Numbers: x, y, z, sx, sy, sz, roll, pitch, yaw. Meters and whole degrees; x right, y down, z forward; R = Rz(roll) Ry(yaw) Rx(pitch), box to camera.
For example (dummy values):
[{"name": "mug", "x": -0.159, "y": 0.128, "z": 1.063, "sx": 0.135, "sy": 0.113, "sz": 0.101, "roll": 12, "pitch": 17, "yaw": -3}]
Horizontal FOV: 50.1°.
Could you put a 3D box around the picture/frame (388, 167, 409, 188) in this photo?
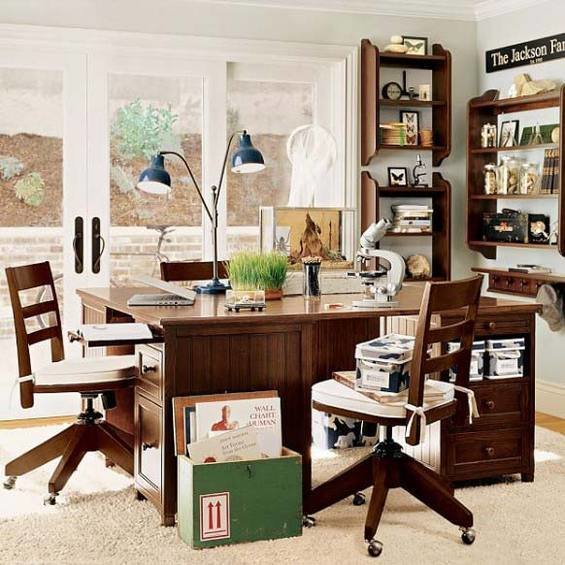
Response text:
[{"name": "picture/frame", "x": 0.787, "y": -0.719, "z": 4.156, "sx": 0.164, "sy": 0.161, "sz": 0.012, "roll": 0, "pitch": -6, "yaw": -21}]

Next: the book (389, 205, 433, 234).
[{"name": "book", "x": 0.883, "y": -0.426, "z": 4.124, "sx": 0.223, "sy": 0.147, "sz": 0.221, "roll": 0, "pitch": 4, "yaw": -7}]

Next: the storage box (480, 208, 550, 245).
[{"name": "storage box", "x": 1.511, "y": -0.355, "z": 3.937, "sx": 0.145, "sy": 0.229, "sz": 0.439, "roll": -2, "pitch": 4, "yaw": -20}]

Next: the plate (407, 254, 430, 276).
[{"name": "plate", "x": 0.938, "y": -0.117, "z": 4.190, "sx": 0.145, "sy": 0.150, "sz": 0.045, "roll": -3, "pitch": -15, "yaw": 5}]

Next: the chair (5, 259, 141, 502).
[{"name": "chair", "x": -0.938, "y": 0.347, "z": 2.564, "sx": 0.577, "sy": 0.979, "sz": 0.597, "roll": 0, "pitch": 1, "yaw": -2}]

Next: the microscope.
[{"name": "microscope", "x": 0.380, "y": -0.084, "z": 2.393, "sx": 0.198, "sy": 0.338, "sz": 0.126, "roll": 4, "pitch": 23, "yaw": 27}]

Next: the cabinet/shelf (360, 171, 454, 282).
[{"name": "cabinet/shelf", "x": 0.953, "y": -0.410, "z": 4.398, "sx": 0.731, "sy": 0.731, "sz": 0.195, "roll": -1, "pitch": 8, "yaw": -16}]

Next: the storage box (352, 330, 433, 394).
[{"name": "storage box", "x": 0.368, "y": 0.281, "z": 2.089, "sx": 0.185, "sy": 0.162, "sz": 0.272, "roll": 1, "pitch": 1, "yaw": 27}]

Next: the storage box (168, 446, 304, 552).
[{"name": "storage box", "x": -0.132, "y": 0.694, "z": 1.946, "sx": 0.404, "sy": 0.293, "sz": 0.173, "roll": 0, "pitch": 1, "yaw": -11}]

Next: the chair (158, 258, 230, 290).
[{"name": "chair", "x": -0.507, "y": -0.066, "z": 3.203, "sx": 0.277, "sy": 0.167, "sz": 0.222, "roll": -1, "pitch": 8, "yaw": -22}]

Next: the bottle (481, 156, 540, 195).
[{"name": "bottle", "x": 1.500, "y": -0.693, "z": 4.012, "sx": 0.208, "sy": 0.273, "sz": 0.476, "roll": 0, "pitch": 1, "yaw": -9}]

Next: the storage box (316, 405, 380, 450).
[{"name": "storage box", "x": 0.324, "y": 0.649, "z": 3.026, "sx": 0.369, "sy": 0.268, "sz": 0.199, "roll": 0, "pitch": 6, "yaw": -16}]

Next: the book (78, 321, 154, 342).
[{"name": "book", "x": -0.549, "y": 0.165, "z": 2.009, "sx": 0.226, "sy": 0.042, "sz": 0.253, "roll": 0, "pitch": 1, "yaw": -17}]

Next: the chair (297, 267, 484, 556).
[{"name": "chair", "x": 0.375, "y": 0.401, "z": 2.166, "sx": 0.577, "sy": 0.919, "sz": 0.545, "roll": 0, "pitch": 0, "yaw": -4}]
